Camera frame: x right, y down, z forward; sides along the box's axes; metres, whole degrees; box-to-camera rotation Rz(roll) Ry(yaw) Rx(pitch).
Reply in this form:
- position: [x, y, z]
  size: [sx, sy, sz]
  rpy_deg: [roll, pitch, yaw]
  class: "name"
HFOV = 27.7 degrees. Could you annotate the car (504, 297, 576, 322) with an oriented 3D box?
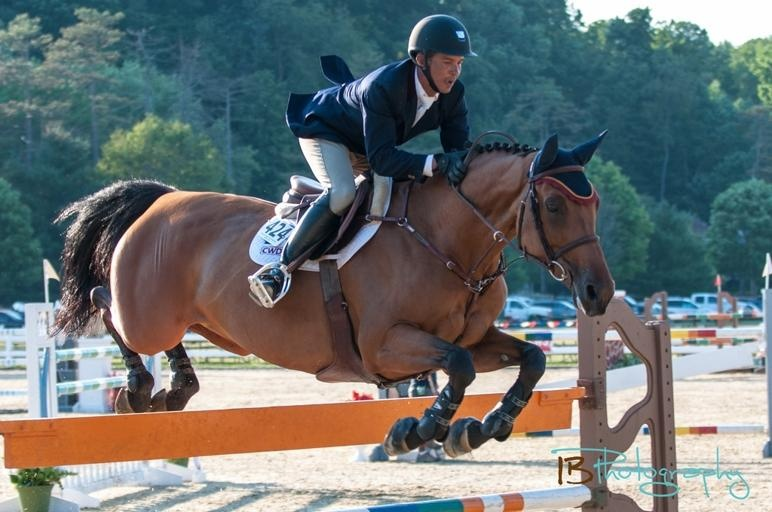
- position: [9.896, 3.437, 101.903]
  size: [4.337, 1.563, 1.999]
  rpy_deg: [4, 1, 2]
  class: "car"
